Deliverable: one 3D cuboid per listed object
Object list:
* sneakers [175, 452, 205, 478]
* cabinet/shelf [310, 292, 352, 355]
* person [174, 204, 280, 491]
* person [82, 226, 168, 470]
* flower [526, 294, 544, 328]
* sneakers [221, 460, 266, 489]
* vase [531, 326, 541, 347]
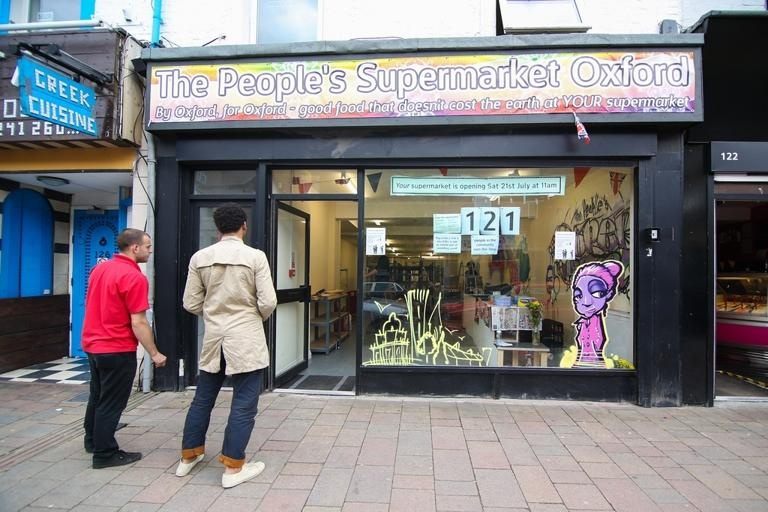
[{"bbox_3d":[-2.391,2.573,7.046,0.158,0.148,0.428,4,10,15],"label":"sneakers"},{"bbox_3d":[-1.240,1.347,11.758,0.469,1.039,2.289,0,-1,0],"label":"cabinet/shelf"},{"bbox_3d":[-1.881,1.068,6.943,1.164,3.401,0.337,-1,0,9],"label":"person"},{"bbox_3d":[-3.334,1.135,7.179,1.015,2.941,0.383,-1,0,4],"label":"person"},{"bbox_3d":[2.351,0.875,8.870,0.302,0.425,0.270,2,4,22],"label":"flower"},{"bbox_3d":[-1.691,2.633,6.936,0.200,0.197,0.514,-1,7,43],"label":"sneakers"},{"bbox_3d":[2.334,1.221,8.811,0.150,0.330,0.085,-1,0,13],"label":"vase"}]
